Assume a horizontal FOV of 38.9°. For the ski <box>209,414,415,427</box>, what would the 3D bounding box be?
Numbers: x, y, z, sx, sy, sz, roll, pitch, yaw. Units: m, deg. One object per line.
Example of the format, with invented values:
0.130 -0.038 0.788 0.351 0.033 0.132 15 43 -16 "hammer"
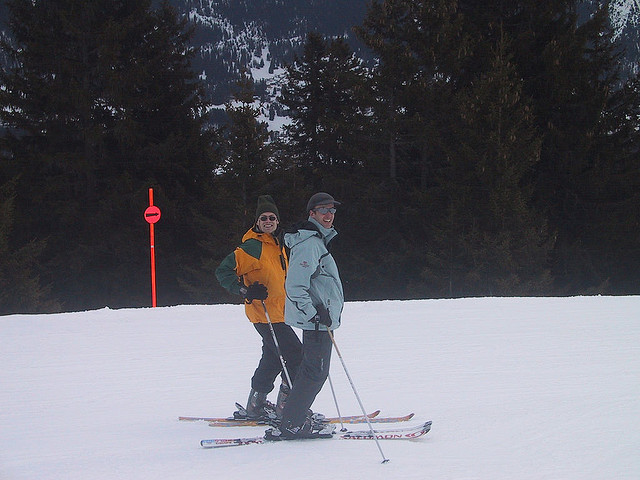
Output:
-0.123 3.036 15.247 3.145 0.239 0.253 0 -15 -4 "ski"
